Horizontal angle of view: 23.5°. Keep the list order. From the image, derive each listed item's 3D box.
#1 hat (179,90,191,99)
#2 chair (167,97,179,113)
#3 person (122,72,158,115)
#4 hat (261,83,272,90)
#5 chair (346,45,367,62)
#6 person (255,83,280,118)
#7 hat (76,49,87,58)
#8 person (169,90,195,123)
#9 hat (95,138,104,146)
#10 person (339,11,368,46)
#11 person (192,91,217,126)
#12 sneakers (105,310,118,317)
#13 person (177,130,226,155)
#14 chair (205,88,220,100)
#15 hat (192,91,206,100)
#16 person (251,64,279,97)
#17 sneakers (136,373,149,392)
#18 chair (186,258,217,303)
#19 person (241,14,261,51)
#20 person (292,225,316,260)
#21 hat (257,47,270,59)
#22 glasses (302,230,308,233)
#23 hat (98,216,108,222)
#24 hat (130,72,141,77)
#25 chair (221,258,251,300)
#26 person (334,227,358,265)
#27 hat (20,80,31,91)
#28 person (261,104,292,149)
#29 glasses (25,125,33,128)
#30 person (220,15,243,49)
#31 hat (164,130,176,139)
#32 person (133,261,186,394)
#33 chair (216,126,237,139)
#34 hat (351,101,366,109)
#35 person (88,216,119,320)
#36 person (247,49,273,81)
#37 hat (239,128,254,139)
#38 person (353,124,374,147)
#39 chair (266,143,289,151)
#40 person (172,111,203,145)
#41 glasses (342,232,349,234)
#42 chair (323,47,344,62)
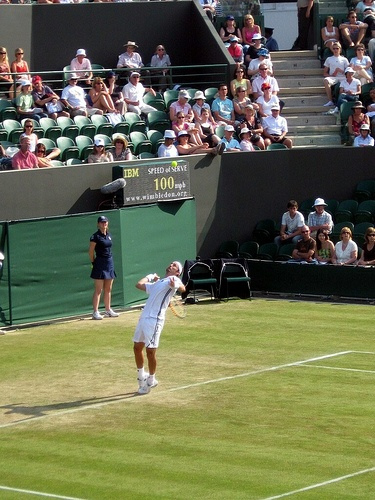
[{"bbox_3d":[-0.087,-3.463,20.032,0.221,0.136,0.279,-1,4,-13],"label":"hat"},{"bbox_3d":[-0.373,-3.359,20.873,0.293,0.257,0.271,4,2,16],"label":"chair"},{"bbox_3d":[-1.111,-3.542,20.558,0.862,0.877,0.730,2,17,-4],"label":"person"},{"bbox_3d":[1.843,-3.800,21.057,0.149,0.126,0.166,-5,-19,-5],"label":"hat"},{"bbox_3d":[4.344,-5.074,23.127,0.438,0.287,0.408,1,-19,0],"label":"chair"},{"bbox_3d":[1.917,-3.468,21.119,0.648,0.839,0.568,-15,26,-34],"label":"person"},{"bbox_3d":[-2.521,-4.620,21.074,0.244,0.164,0.325,-1,-4,-3],"label":"hat"},{"bbox_3d":[-0.116,-3.158,20.126,0.565,0.781,0.510,2,6,25],"label":"person"},{"bbox_3d":[-1.683,-2.042,17.030,0.212,0.094,0.307,2,10,-16],"label":"hat"},{"bbox_3d":[4.376,-5.743,23.682,0.716,0.975,0.710,0,6,9],"label":"person"},{"bbox_3d":[0.273,-3.253,20.454,0.629,0.892,0.776,-7,15,-18],"label":"person"},{"bbox_3d":[-1.367,1.112,16.114,0.276,0.113,0.095,5,10,8],"label":"sneakers"},{"bbox_3d":[0.279,-2.247,19.075,0.954,0.521,0.479,-1,-1,16],"label":"person"},{"bbox_3d":[0.609,-3.794,21.840,0.309,0.314,0.375,0,-10,-1],"label":"chair"},{"bbox_3d":[0.289,-3.495,20.415,0.223,0.122,0.234,3,2,39],"label":"hat"},{"bbox_3d":[1.847,-4.007,21.592,0.751,0.808,0.653,-5,14,-7],"label":"person"},{"bbox_3d":[-0.559,1.549,10.840,0.095,0.254,0.125,1,-10,34],"label":"sneakers"},{"bbox_3d":[0.278,0.568,17.681,0.684,0.755,0.468,-6,2,-10],"label":"chair"},{"bbox_3d":[1.674,-5.648,23.496,0.620,0.829,0.585,-23,26,-31],"label":"person"},{"bbox_3d":[2.334,-0.162,17.941,0.425,0.695,0.628,-3,6,-19],"label":"person"},{"bbox_3d":[1.887,-4.807,22.230,0.107,0.250,0.263,-18,-8,-4],"label":"hat"},{"bbox_3d":[2.315,-0.365,17.668,0.105,0.076,0.127,-1,6,6],"label":"glasses"},{"bbox_3d":[-1.460,-0.542,15.395,0.159,0.101,0.241,0,-4,-3],"label":"hat"},{"bbox_3d":[-1.215,-3.989,20.544,0.183,0.079,0.230,-1,5,-6],"label":"hat"},{"bbox_3d":[0.917,0.517,17.601,0.646,0.715,0.468,-4,9,-14],"label":"chair"},{"bbox_3d":[3.060,-0.109,17.341,0.433,0.692,0.665,0,6,9],"label":"person"},{"bbox_3d":[-3.333,-3.356,18.457,0.320,0.146,0.308,-3,1,-6],"label":"hat"},{"bbox_3d":[2.019,-2.776,20.759,0.797,1.166,0.745,-6,13,-38],"label":"person"},{"bbox_3d":[-2.898,-2.235,16.338,0.131,0.052,0.152,-3,6,-17],"label":"glasses"},{"bbox_3d":[1.099,-5.696,23.761,0.735,0.956,0.886,-2,15,-13],"label":"person"},{"bbox_3d":[-0.345,-2.341,18.341,0.223,0.104,0.201,9,-3,-28],"label":"hat"},{"bbox_3d":[-0.341,0.929,10.703,0.607,1.548,0.476,-2,6,-4],"label":"person"},{"bbox_3d":[0.844,-2.615,20.140,0.343,0.371,0.321,5,12,33],"label":"chair"},{"bbox_3d":[3.970,-3.355,20.776,0.272,0.134,0.277,2,-6,43],"label":"hat"},{"bbox_3d":[-1.479,0.311,15.707,0.459,1.825,0.763,-2,6,-6],"label":"person"},{"bbox_3d":[1.804,-4.540,22.208,0.602,0.784,0.468,4,16,5],"label":"person"},{"bbox_3d":[1.292,-2.582,20.018,0.240,0.225,0.364,-1,6,-2],"label":"hat"},{"bbox_3d":[4.075,-2.630,20.677,0.571,0.739,0.477,3,5,9],"label":"person"},{"bbox_3d":[2.024,-2.325,20.314,0.444,0.188,0.861,-1,5,6],"label":"chair"},{"bbox_3d":[0.035,-2.568,19.505,0.687,0.778,0.400,20,42,39],"label":"person"},{"bbox_3d":[3.056,-0.339,17.257,0.093,0.031,0.043,0,6,10],"label":"glasses"},{"bbox_3d":[3.820,-5.084,23.546,0.359,0.413,0.339,-3,-3,2],"label":"chair"}]
